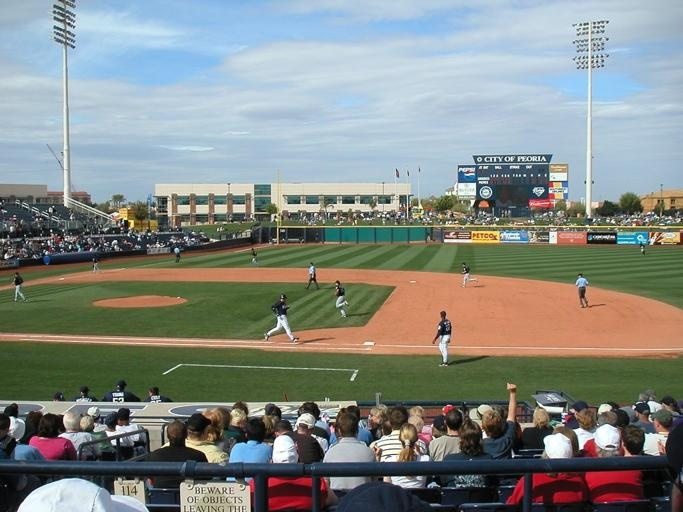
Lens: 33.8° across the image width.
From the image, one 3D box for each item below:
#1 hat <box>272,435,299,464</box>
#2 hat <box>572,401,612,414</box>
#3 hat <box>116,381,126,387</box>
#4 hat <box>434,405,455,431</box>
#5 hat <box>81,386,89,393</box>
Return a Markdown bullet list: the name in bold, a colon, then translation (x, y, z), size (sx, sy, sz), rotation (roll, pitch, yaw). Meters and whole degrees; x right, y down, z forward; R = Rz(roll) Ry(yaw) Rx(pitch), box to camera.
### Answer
- **hat**: translation (-1.767, 5.903, 34.101), size (0.777, 0.810, 0.902), rotation (2, 10, 5)
- **hat**: translation (8.521, 5.280, 38.086), size (1.269, 0.503, 0.732), rotation (-2, -1, 15)
- **hat**: translation (-8.336, 4.843, 42.269), size (0.339, 0.329, 0.362), rotation (2, 14, -6)
- **hat**: translation (3.373, 5.298, 36.620), size (0.917, 0.534, 1.307), rotation (3, 18, 2)
- **hat**: translation (-9.576, 4.958, 41.676), size (0.290, 0.281, 0.346), rotation (1, 12, 0)
